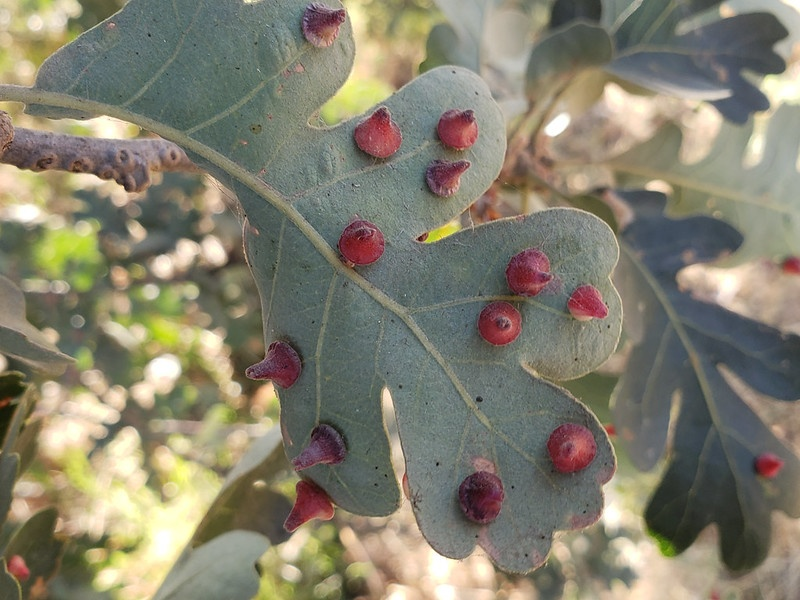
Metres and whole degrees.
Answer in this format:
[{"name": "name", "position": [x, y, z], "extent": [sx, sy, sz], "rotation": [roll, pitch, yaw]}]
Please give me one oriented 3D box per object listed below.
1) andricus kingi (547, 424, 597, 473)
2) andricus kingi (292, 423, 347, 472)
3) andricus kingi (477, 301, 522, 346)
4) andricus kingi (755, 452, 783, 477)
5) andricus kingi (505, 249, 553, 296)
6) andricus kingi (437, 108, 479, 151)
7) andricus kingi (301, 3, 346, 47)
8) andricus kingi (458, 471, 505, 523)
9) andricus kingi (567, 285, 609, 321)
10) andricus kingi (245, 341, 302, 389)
[{"name": "andricus kingi", "position": [0.326, 0.279, 2.314], "extent": [0.091, 0.019, 0.091], "rotation": [-27, 82, -1]}, {"name": "andricus kingi", "position": [-0.156, 0.288, 2.317], "extent": [0.109, 0.044, 0.084], "rotation": [-33, 61, -26]}, {"name": "andricus kingi", "position": [0.190, 0.042, 2.318], "extent": [0.083, 0.029, 0.085], "rotation": [29, 85, 7]}, {"name": "andricus kingi", "position": [0.767, 0.345, 2.550], "extent": [0.052, 0.019, 0.053], "rotation": [35, 86, 7]}, {"name": "andricus kingi", "position": [0.244, -0.053, 2.320], "extent": [0.086, 0.031, 0.090], "rotation": [-1, 82, 3]}, {"name": "andricus kingi", "position": [0.111, -0.326, 2.333], "extent": [0.081, 0.041, 0.076], "rotation": [18, 84, 6]}, {"name": "andricus kingi", "position": [-0.149, -0.522, 2.309], "extent": [0.077, 0.040, 0.086], "rotation": [27, 85, 7]}, {"name": "andricus kingi", "position": [0.152, 0.373, 2.308], "extent": [0.081, 0.024, 0.100], "rotation": [-1, 82, 3]}, {"name": "andricus kingi", "position": [0.356, 0.008, 2.316], "extent": [0.063, 0.031, 0.063], "rotation": [28, 101, 14]}, {"name": "andricus kingi", "position": [-0.229, 0.127, 2.321], "extent": [0.084, 0.055, 0.095], "rotation": [36, 86, 8]}]
